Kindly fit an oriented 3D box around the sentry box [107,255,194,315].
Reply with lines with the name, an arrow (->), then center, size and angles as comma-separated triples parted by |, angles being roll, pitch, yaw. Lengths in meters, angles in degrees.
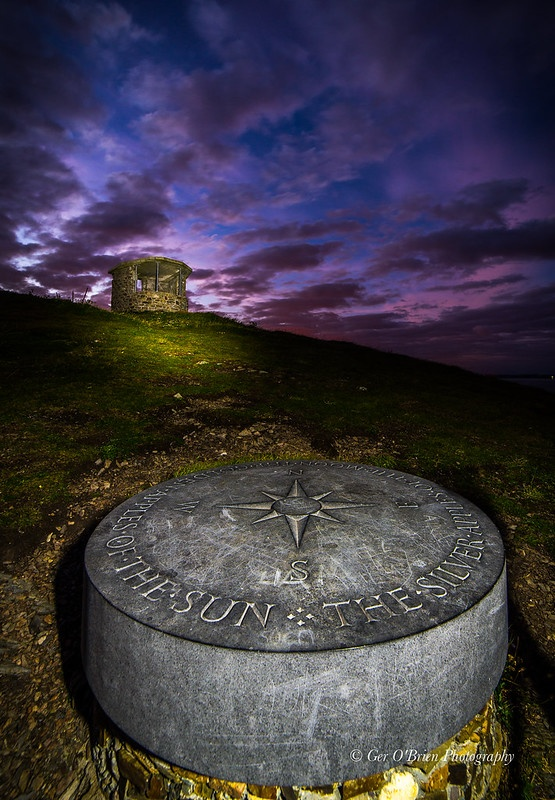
sentry box -> -8.681, -7.783, 33.401 | 5.119, 3.307, 6.047 | 2, 13, 13
